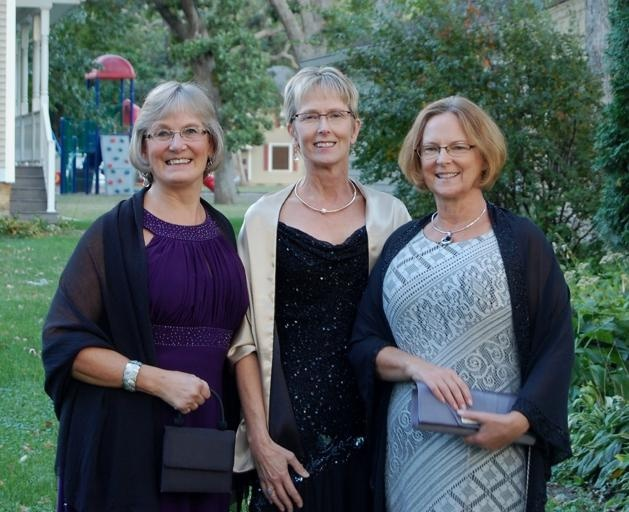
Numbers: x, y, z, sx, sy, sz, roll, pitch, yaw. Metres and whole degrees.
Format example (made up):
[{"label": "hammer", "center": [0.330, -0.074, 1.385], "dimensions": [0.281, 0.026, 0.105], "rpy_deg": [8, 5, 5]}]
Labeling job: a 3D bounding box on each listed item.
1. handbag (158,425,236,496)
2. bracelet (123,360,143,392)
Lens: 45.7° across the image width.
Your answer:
[{"label": "handbag", "center": [-0.529, 0.895, 3.279], "dimensions": [0.265, 0.265, 0.113], "rpy_deg": [6, -9, -13]}, {"label": "bracelet", "center": [-0.805, 0.525, 3.323], "dimensions": [0.078, 0.130, 0.116], "rpy_deg": [11, 26, 5]}]
